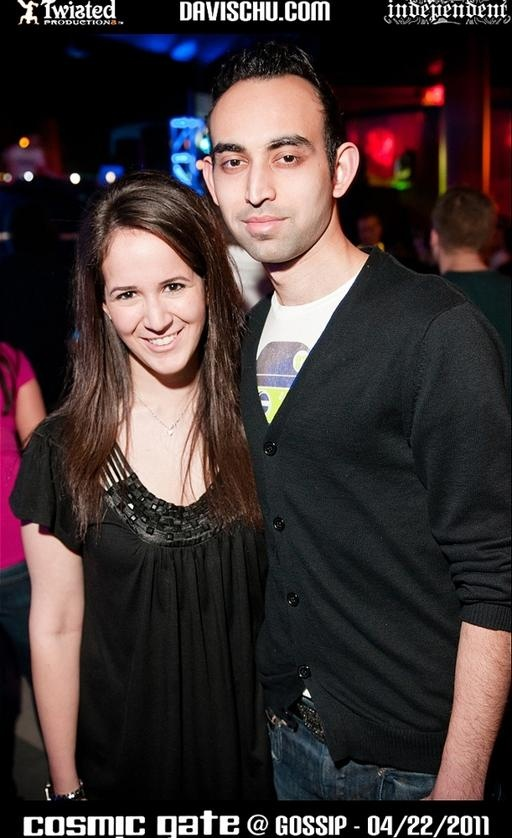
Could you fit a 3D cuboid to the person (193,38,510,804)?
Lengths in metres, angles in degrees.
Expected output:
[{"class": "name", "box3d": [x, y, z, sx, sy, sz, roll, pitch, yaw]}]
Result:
[{"class": "person", "box3d": [0.249, 0.094, 1.843, 0.477, 2.119, 0.894, -11, 16, -26]}]

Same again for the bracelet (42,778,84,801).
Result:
[{"class": "bracelet", "box3d": [-0.568, 1.085, 2.078, 0.067, 0.068, 0.107, 7, -25, -43]}]
